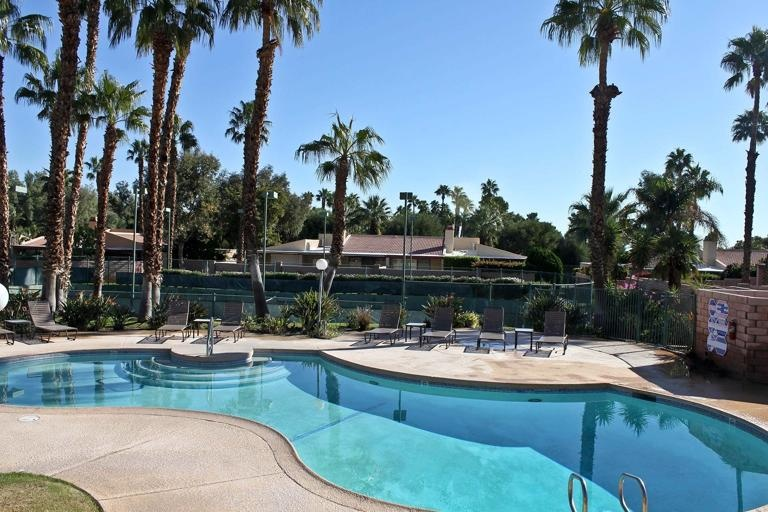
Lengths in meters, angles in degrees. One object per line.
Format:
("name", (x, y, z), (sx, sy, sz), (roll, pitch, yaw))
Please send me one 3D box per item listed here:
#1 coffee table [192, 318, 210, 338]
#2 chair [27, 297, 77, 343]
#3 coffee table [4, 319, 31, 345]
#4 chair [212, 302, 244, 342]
("coffee table", (-7.197, 2.883, 22.454), (0.790, 0.872, 0.799), (1, 1, -11))
("chair", (-12.084, 2.353, 20.605), (0.987, 1.413, 2.519), (0, 5, -43))
("coffee table", (-13.321, 2.982, 20.759), (0.665, 0.884, 1.253), (1, 4, -27))
("chair", (-5.879, 2.516, 21.419), (0.808, 1.059, 1.512), (1, 3, 6))
